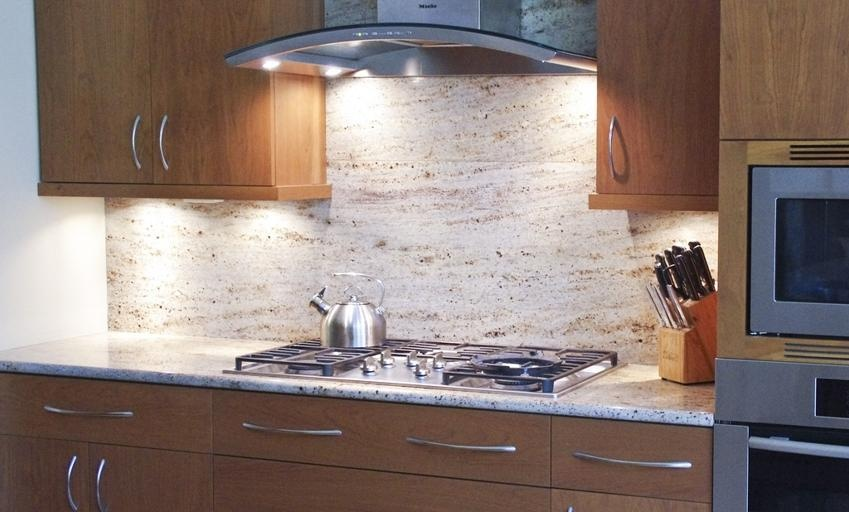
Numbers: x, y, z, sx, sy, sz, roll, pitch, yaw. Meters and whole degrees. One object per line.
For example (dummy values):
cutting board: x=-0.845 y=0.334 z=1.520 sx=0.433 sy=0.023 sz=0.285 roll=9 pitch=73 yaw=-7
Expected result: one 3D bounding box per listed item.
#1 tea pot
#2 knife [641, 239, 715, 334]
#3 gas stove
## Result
tea pot: x=-0.296 y=0.246 z=4.184 sx=0.448 sy=0.315 sz=0.302 roll=1 pitch=1 yaw=11
knife: x=1.033 y=0.117 z=3.795 sx=0.274 sy=0.352 sz=0.097 roll=-1 pitch=3 yaw=14
gas stove: x=0.016 y=0.458 z=3.963 sx=1.529 sy=0.143 sz=0.646 roll=-1 pitch=2 yaw=12
